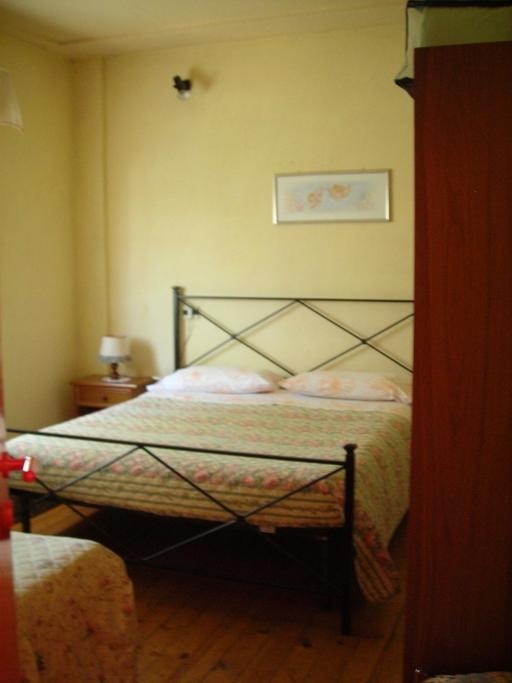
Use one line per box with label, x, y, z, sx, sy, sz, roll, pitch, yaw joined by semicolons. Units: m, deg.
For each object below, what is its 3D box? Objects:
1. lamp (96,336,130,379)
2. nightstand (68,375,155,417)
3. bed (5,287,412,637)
lamp;-0.861;0.101;3.816;0.197;0.279;0.194;3;6;12
nightstand;-0.876;0.262;3.778;0.343;0.313;0.251;2;6;15
bed;-0.100;0.473;2.776;1.507;0.507;1.588;1;5;15
